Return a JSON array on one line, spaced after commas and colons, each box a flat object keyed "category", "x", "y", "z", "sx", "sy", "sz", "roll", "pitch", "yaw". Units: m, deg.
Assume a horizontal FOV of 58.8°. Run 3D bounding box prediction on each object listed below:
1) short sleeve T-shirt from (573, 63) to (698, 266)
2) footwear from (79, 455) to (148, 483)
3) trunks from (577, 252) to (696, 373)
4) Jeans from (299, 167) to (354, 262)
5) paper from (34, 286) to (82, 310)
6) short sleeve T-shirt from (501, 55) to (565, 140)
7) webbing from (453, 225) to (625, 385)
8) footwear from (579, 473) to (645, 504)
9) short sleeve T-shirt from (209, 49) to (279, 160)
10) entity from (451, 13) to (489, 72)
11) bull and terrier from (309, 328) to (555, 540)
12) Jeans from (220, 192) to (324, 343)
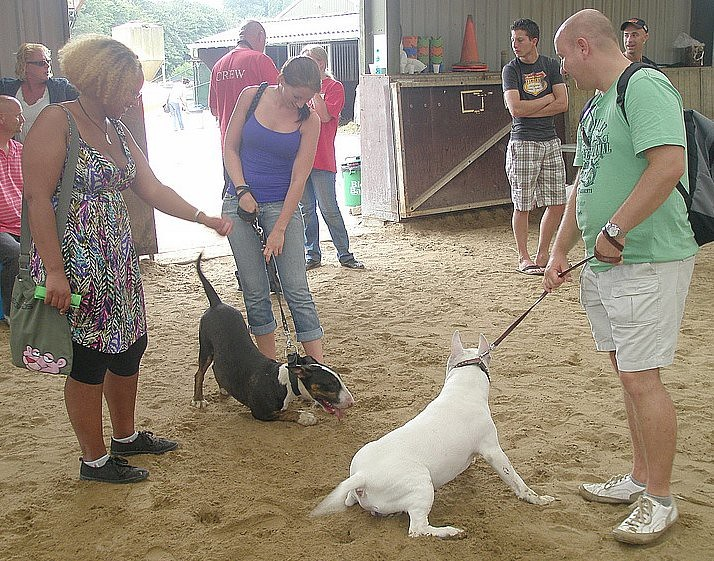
[{"category": "short sleeve T-shirt", "x": 1.292, "y": -0.501, "z": 2.950, "sx": 0.594, "sy": 0.921, "sz": 0.423, "roll": 9, "pitch": 17, "yaw": 29}, {"category": "footwear", "x": -1.336, "y": 1.050, "z": 3.546, "sx": 0.378, "sy": 0.172, "sz": 0.148, "roll": 3, "pitch": 5, "yaw": -9}, {"category": "trunks", "x": 1.369, "y": 0.100, "z": 3.177, "sx": 0.353, "sy": 0.563, "sz": 0.617, "roll": 1, "pitch": 6, "yaw": -4}, {"category": "Jeans", "x": -0.456, "y": -0.866, "z": 7.725, "sx": 0.549, "sy": 0.406, "sz": 1.762, "roll": -3, "pitch": 53, "yaw": -12}, {"category": "paper", "x": -1.410, "y": 0.080, "z": 3.052, "sx": 0.126, "sy": 0.129, "sz": 0.030, "roll": 12, "pitch": -4, "yaw": -18}, {"category": "short sleeve T-shirt", "x": 2.031, "y": -2.059, "z": 7.224, "sx": 0.629, "sy": 0.954, "sz": 0.338, "roll": -3, "pitch": 38, "yaw": 16}, {"category": "webbing", "x": 1.425, "y": 0.231, "z": 5.056, "sx": 0.392, "sy": 1.717, "sz": 0.081, "roll": 37, "pitch": 6, "yaw": -40}, {"category": "footwear", "x": 1.315, "y": 1.053, "z": 3.264, "sx": 0.311, "sy": 0.137, "sz": 0.121, "roll": 0, "pitch": 3, "yaw": 24}, {"category": "short sleeve T-shirt", "x": -1.197, "y": -1.803, "z": 6.691, "sx": 0.872, "sy": 1.197, "sz": 0.410, "roll": 1, "pitch": 11, "yaw": 19}, {"category": "entity", "x": 1.805, "y": -3.787, "z": 10.131, "sx": 0.619, "sy": 0.859, "sz": 0.632, "roll": -10, "pitch": 18, "yaw": -28}, {"category": "bull and terrier", "x": 0.419, "y": 0.790, "z": 3.074, "sx": 1.147, "sy": 0.787, "sz": 0.684, "roll": -13, "pitch": 20, "yaw": -41}, {"category": "Jeans", "x": -0.594, "y": -0.021, "z": 4.491, "sx": 0.584, "sy": 1.725, "sz": 0.367, "roll": -11, "pitch": 38, "yaw": -11}]
